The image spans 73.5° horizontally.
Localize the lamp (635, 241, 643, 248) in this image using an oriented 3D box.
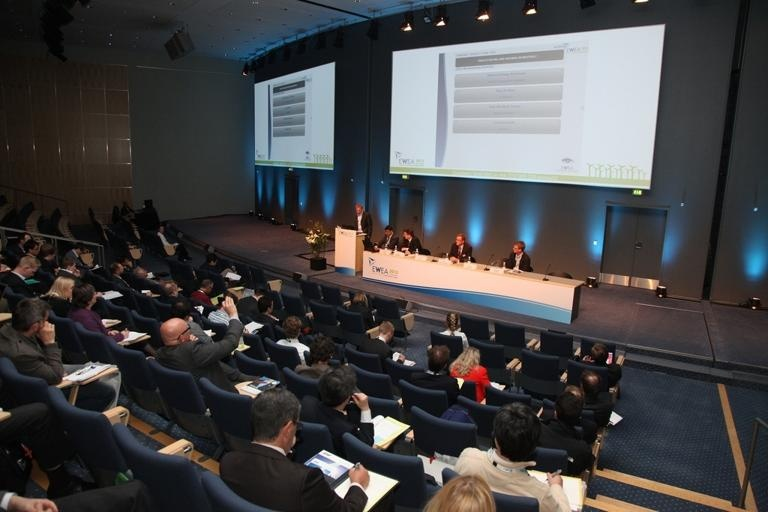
[{"bbox_3d":[6.119,-0.290,12.358,0.193,0.170,0.045,4,9,15],"label":"lamp"}]
